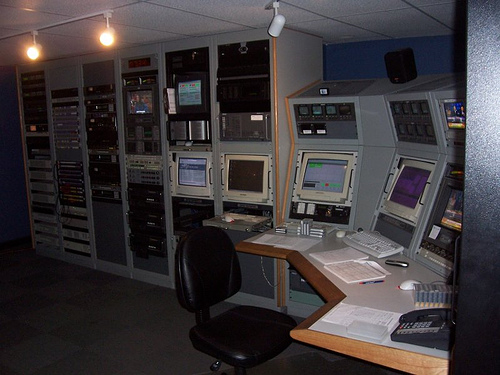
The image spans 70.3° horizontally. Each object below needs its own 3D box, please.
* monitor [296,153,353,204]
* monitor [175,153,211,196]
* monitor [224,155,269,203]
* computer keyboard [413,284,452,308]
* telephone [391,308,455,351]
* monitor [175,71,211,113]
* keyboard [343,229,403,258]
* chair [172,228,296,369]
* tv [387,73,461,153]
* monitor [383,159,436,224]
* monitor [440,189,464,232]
[{"bbox_3d":[0.717,-0.077,3.315,0.439,0.397,0.166,12,-7,36],"label":"monitor"},{"bbox_3d":[-0.632,-0.158,4.002,0.524,0.483,0.281,1,0,27],"label":"monitor"},{"bbox_3d":[0.038,-0.116,3.837,0.626,0.523,0.345,5,4,36],"label":"monitor"},{"bbox_3d":[0.926,0.554,1.828,0.182,0.061,0.126,-3,29,-1],"label":"computer keyboard"},{"bbox_3d":[0.779,0.613,1.575,0.249,0.079,0.262,-9,0,31],"label":"telephone"},{"bbox_3d":[-0.727,-1.061,3.943,0.428,0.375,0.244,-18,32,-40],"label":"monitor"},{"bbox_3d":[0.906,0.414,2.645,0.249,0.056,0.419,-6,11,-18],"label":"keyboard"},{"bbox_3d":[-0.094,0.651,2.306,0.658,0.704,0.576,7,15,40],"label":"chair"},{"bbox_3d":[1.474,-0.592,2.684,0.544,0.392,0.536,-24,18,-15],"label":"tv"},{"bbox_3d":[1.214,0.010,2.683,0.202,0.413,0.414,-5,11,-12],"label":"monitor"},{"bbox_3d":[1.306,0.148,2.262,0.111,0.229,0.299,0,11,12],"label":"monitor"}]
